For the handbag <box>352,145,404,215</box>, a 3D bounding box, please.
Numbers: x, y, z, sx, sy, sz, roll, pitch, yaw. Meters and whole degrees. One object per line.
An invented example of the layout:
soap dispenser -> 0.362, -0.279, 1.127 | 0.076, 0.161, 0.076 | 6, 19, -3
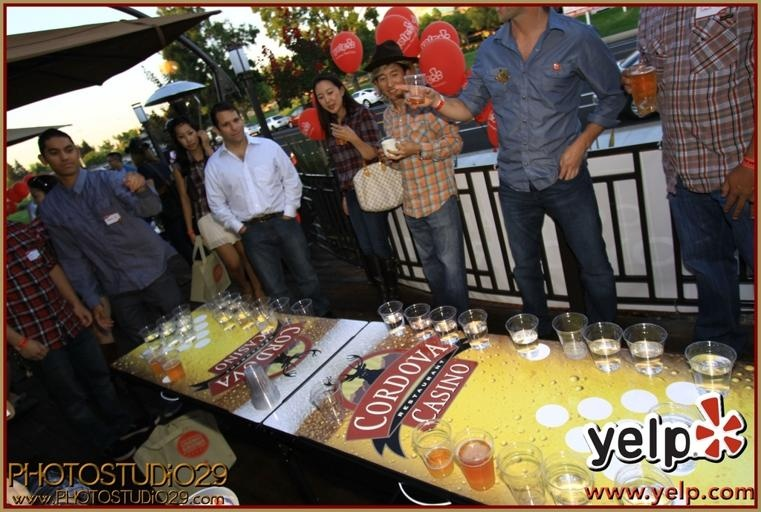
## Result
handbag -> -0.019, -0.697, 3.833 | 0.611, 0.649, 0.255 | -1, 20, 6

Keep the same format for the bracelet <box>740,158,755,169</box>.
bracelet -> 1.958, -0.494, 2.306 | 0.047, 0.031, 0.046 | -15, 12, -39

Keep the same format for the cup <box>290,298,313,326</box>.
cup -> -0.567, 0.410, 3.247 | 0.144, 0.154, 0.151 | -9, 14, 2

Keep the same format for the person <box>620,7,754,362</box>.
person -> 1.954, -0.460, 2.613 | 0.387, 2.034, 0.665 | -15, 22, 6

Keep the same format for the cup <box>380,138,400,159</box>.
cup -> 0.079, -0.837, 3.353 | 0.167, 0.161, 0.105 | -12, 8, -20

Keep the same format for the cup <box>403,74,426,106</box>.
cup -> 0.276, -1.142, 2.991 | 0.185, 0.198, 0.189 | -3, 17, 1

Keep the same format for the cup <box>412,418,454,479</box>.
cup -> 0.253, 0.836, 1.974 | 0.181, 0.166, 0.198 | -14, 18, 5

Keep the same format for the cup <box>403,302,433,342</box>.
cup -> 0.231, 0.366, 2.678 | 0.191, 0.198, 0.193 | -9, 28, 5

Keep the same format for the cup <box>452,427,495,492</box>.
cup -> 0.408, 0.853, 1.837 | 0.155, 0.195, 0.162 | -15, 22, 6

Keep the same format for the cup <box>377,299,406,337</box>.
cup -> 0.077, 0.381, 2.772 | 0.188, 0.196, 0.190 | -5, 18, 2

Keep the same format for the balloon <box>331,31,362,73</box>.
balloon -> -0.371, -2.259, 4.803 | 0.327, 0.423, 0.547 | -16, 22, 3

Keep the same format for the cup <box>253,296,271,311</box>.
cup -> -0.874, 0.352, 3.215 | 0.095, 0.099, 0.093 | 1, -3, 0

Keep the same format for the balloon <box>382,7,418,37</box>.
balloon -> 0.191, -2.383, 4.339 | 0.277, 0.332, 0.276 | -1, -21, -4

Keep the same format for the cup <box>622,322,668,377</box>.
cup -> 1.253, 0.426, 2.123 | 0.224, 0.244, 0.230 | -12, 21, 5

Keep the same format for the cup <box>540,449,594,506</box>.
cup -> 0.733, 0.865, 1.699 | 0.170, 0.118, 0.153 | -10, 22, 16

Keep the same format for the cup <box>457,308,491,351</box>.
cup -> 0.520, 0.405, 2.501 | 0.204, 0.211, 0.205 | -10, 15, 3

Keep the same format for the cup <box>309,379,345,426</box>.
cup -> -0.281, 0.791, 2.370 | 0.115, 0.080, 0.217 | -34, 30, -2
